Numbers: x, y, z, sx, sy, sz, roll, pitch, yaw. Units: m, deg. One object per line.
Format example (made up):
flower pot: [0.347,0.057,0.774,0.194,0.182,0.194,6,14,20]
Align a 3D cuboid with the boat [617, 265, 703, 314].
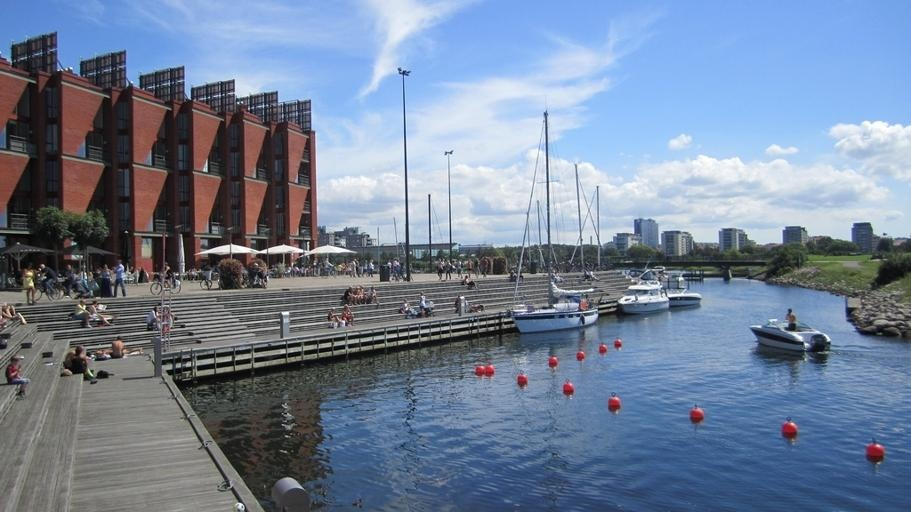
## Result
boat: [27.773,4.952,92.841,8.662,7.975,29.028,-2,-3,33]

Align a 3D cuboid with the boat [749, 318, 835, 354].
boat: [29.076,6.667,59.175,4.073,2.235,6.600,1,4,-29]
